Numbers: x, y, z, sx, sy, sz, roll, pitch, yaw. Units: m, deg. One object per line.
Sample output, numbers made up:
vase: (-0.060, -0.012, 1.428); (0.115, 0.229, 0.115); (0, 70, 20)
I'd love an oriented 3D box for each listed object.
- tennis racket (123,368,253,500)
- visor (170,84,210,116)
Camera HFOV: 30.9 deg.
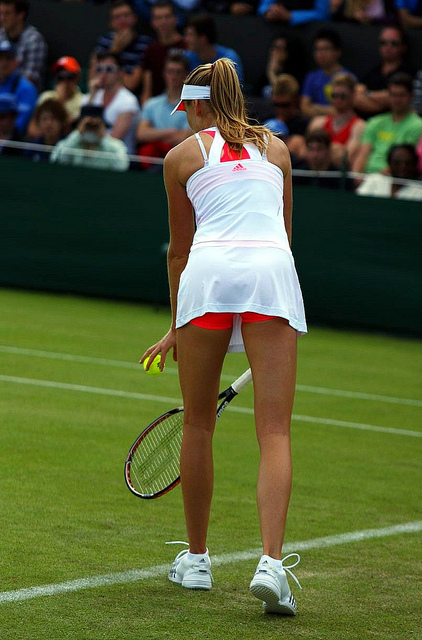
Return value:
tennis racket: (-0.128, 0.428, 2.719); (0.086, 0.822, 0.227); (5, 50, -46)
visor: (-0.061, -0.664, 2.340); (0.059, 0.102, 0.071); (11, -5, 22)
